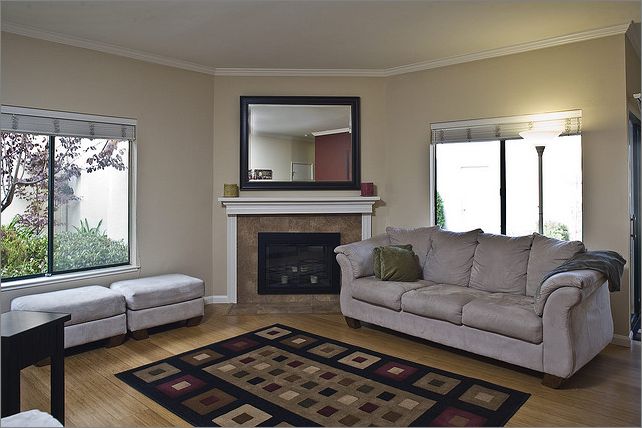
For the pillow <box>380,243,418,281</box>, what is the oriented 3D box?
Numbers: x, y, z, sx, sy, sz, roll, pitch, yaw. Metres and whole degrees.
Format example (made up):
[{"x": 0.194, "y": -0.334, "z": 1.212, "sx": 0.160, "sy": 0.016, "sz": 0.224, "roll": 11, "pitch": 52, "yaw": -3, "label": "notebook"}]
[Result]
[{"x": 0.983, "y": 0.644, "z": 5.738, "sx": 0.483, "sy": 0.427, "sz": 0.218, "roll": 3, "pitch": -42, "yaw": -7, "label": "pillow"}]

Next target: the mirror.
[{"x": -0.381, "y": -1.090, "z": 6.787, "sx": 1.690, "sy": 1.104, "sz": 0.065, "roll": 0, "pitch": -1, "yaw": -3, "label": "mirror"}]

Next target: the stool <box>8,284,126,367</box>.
[{"x": -2.936, "y": 1.072, "z": 5.303, "sx": 0.884, "sy": 0.678, "sz": 1.169, "roll": 3, "pitch": 3, "yaw": 41, "label": "stool"}]

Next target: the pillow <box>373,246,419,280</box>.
[{"x": 0.948, "y": 0.646, "z": 5.857, "sx": 0.509, "sy": 0.435, "sz": 0.237, "roll": 2, "pitch": -6, "yaw": 2, "label": "pillow"}]

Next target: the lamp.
[{"x": 2.755, "y": -0.359, "z": 5.653, "sx": 0.406, "sy": 0.992, "sz": 0.375, "roll": -2, "pitch": 2, "yaw": -9, "label": "lamp"}]
